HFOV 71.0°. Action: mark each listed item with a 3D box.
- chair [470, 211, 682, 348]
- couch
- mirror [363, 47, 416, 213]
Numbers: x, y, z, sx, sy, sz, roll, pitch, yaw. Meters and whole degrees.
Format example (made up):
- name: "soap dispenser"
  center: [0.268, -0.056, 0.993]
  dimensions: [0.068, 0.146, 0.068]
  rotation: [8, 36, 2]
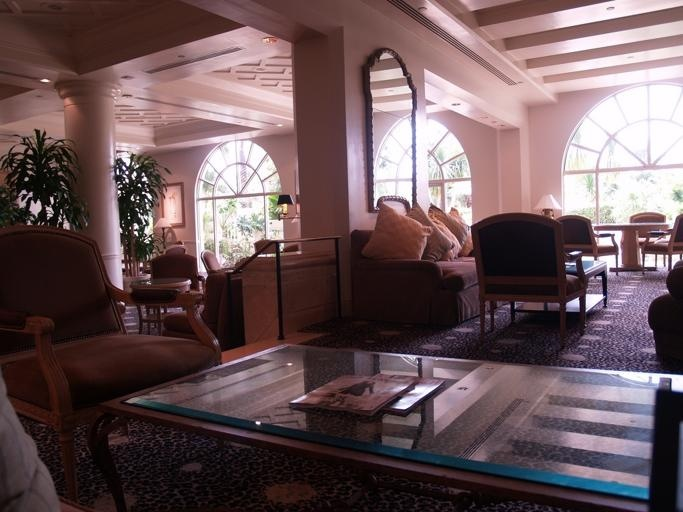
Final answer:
- name: "chair"
  center: [1.898, 0.110, 3.892]
  dimensions: [0.908, 1.368, 1.058]
  rotation: [1, 6, 36]
- name: "couch"
  center: [1.090, 0.171, 5.361]
  dimensions: [1.205, 0.916, 1.768]
  rotation: [2, 4, 35]
- name: "mirror"
  center: [0.600, -1.524, 5.779]
  dimensions: [0.298, 1.944, 1.123]
  rotation: [0, 5, 29]
